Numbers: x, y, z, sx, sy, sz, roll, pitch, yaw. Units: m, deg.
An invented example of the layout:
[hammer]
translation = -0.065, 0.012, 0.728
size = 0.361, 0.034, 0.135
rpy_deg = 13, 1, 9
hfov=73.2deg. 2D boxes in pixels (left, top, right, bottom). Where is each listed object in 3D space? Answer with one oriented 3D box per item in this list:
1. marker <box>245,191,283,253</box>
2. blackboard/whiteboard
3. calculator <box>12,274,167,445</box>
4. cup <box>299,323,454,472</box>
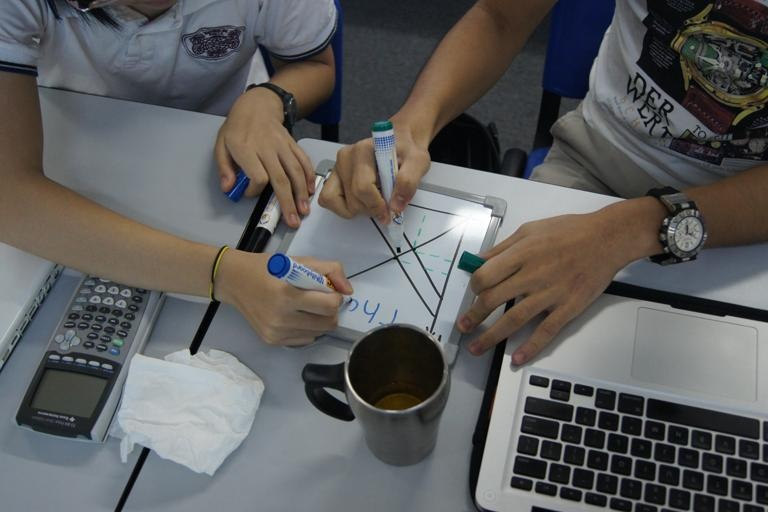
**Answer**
[marker]
translation = -0.226, -0.057, 1.049
size = 0.030, 0.026, 0.195
rpy_deg = 33, 66, -38
[blackboard/whiteboard]
translation = 0.001, 0.027, 0.950
size = 0.284, 0.031, 0.281
rpy_deg = 14, 66, 14
[calculator]
translation = -0.529, 0.199, 0.947
size = 0.138, 0.063, 0.305
rpy_deg = 14, 70, 4
[cup]
translation = -0.014, 0.230, 0.820
size = 0.209, 0.214, 0.151
rpy_deg = 9, 47, 15
